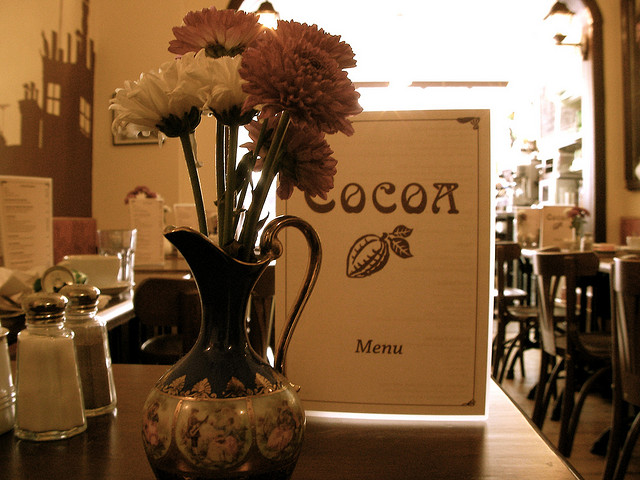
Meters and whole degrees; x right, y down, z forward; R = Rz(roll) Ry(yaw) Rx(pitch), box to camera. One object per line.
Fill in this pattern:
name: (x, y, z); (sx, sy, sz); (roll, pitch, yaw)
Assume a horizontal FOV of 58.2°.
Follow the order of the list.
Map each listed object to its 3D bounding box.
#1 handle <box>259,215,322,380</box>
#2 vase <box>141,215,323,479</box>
handle: (-0.059, 0.112, 0.982); (0.101, 0.332, 0.061); (5, 28, -7)
vase: (-0.136, 0.169, 0.897); (0.284, 0.405, 0.120); (0, 10, -8)
